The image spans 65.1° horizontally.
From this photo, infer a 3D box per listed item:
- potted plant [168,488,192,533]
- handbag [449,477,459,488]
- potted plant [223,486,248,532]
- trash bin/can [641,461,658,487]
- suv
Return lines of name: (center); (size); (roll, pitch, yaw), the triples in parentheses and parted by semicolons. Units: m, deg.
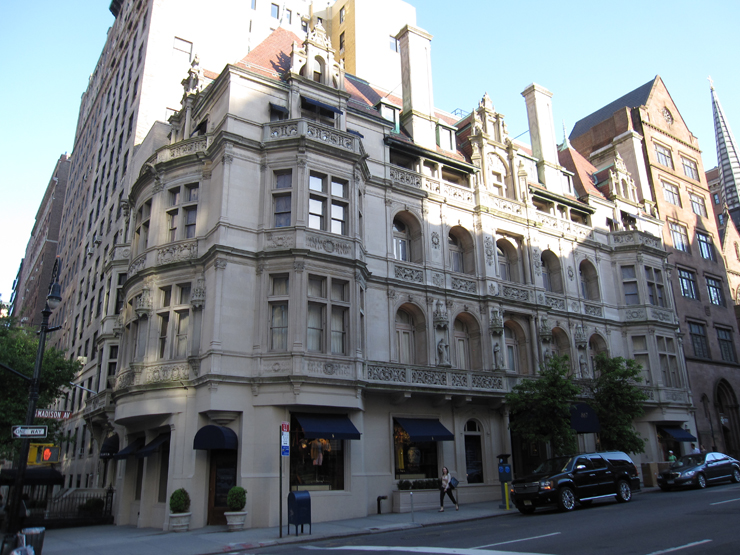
potted plant: (-9.144, 11.133, 27.722); (1.020, 1.905, 0.969); (0, -21, -7)
handbag: (4.539, 11.161, 31.459); (0.386, 0.507, 1.198); (-8, -22, 13)
potted plant: (-6.242, 10.789, 27.043); (0.962, 1.936, 1.085); (2, -21, -13)
trash bin/can: (18.412, 12.934, 37.970); (1.350, 1.473, 0.685); (10, -24, -30)
suv: (10.442, 10.283, 29.202); (7.529, 2.712, 2.531); (10, -25, -31)
